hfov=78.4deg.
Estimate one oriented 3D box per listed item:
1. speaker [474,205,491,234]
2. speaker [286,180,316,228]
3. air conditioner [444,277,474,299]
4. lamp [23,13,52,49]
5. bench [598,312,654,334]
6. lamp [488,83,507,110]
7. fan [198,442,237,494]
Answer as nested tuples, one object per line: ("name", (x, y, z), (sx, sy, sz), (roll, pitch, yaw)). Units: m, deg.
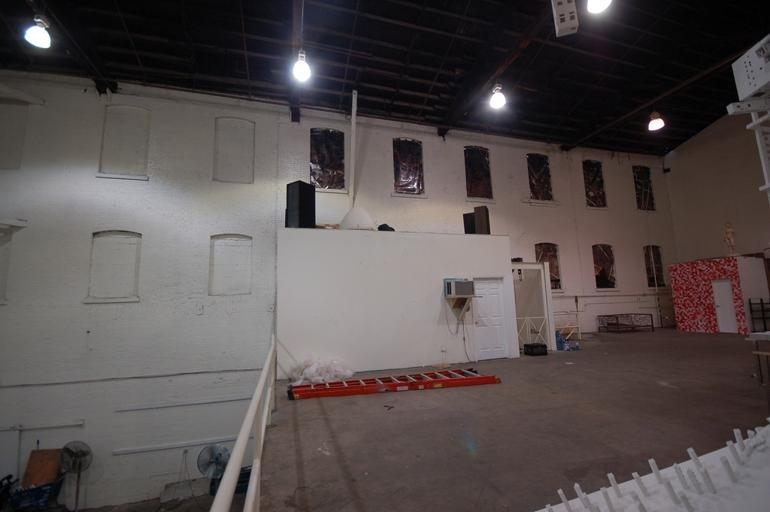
("speaker", (3.240, -1.198, 15.712), (0.466, 0.867, 0.716), (-1, 15, 9))
("speaker", (-2.573, -1.551, 14.594), (1.200, 1.370, 1.205), (1, -2, -12))
("air conditioner", (2.284, 0.995, 14.566), (0.648, 0.413, 0.657), (1, -7, -12))
("lamp", (-9.221, -6.217, 12.808), (0.599, 0.577, 0.648), (-2, -44, -23))
("bench", (10.121, 2.763, 19.701), (2.455, 0.956, 0.748), (-7, 15, -12))
("lamp", (3.697, -5.279, 15.451), (0.403, 0.711, 1.017), (1, 16, 18))
("fan", (-5.042, 6.484, 14.187), (0.810, 1.997, 0.866), (-8, 15, -17))
